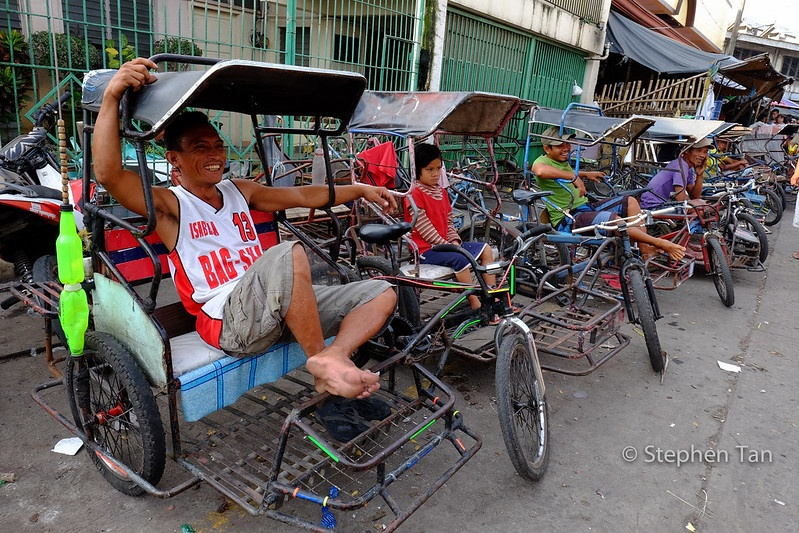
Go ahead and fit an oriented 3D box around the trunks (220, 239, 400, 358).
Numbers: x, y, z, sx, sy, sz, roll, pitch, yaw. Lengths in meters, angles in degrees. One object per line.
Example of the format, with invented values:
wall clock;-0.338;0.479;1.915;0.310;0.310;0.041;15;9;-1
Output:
trunks;-0.516;0.025;3.409;0.681;0.572;1.168;12;0;20

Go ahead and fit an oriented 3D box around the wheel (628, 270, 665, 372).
wheel;2.174;0.512;4.887;0.113;0.648;0.654;-21;41;19

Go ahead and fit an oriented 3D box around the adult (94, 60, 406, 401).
adult;-0.830;-0.273;3.483;1.569;1.809;1.284;2;13;15

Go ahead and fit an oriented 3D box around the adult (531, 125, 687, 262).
adult;2.254;-0.797;5.860;1.801;1.332;1.173;14;28;39

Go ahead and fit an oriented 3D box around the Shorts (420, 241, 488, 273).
Shorts;0.456;-0.075;4.868;0.331;0.122;0.356;1;13;40

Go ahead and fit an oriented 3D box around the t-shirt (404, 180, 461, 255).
t-shirt;0.295;-0.466;5.055;0.354;0.558;0.619;7;12;42

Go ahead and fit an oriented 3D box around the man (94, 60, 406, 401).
man;-0.790;-0.273;3.462;1.676;1.852;1.268;2;13;11

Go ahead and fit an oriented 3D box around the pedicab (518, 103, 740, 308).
pedicab;2.320;-0.970;6.849;1.641;2.124;3.453;-16;25;-31

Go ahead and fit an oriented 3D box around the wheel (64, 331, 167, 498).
wheel;-1.692;0.882;3.296;0.798;0.774;0.266;31;33;32

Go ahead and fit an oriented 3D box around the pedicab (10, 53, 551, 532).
pedicab;-0.923;-0.165;4.026;3.750;2.670;2.522;18;28;35

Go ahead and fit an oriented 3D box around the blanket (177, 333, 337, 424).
blanket;-0.989;0.698;3.337;0.585;0.226;0.572;-19;20;-37

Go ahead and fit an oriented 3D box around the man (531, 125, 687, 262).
man;2.292;-0.784;5.884;1.821;1.335;1.120;14;28;39
